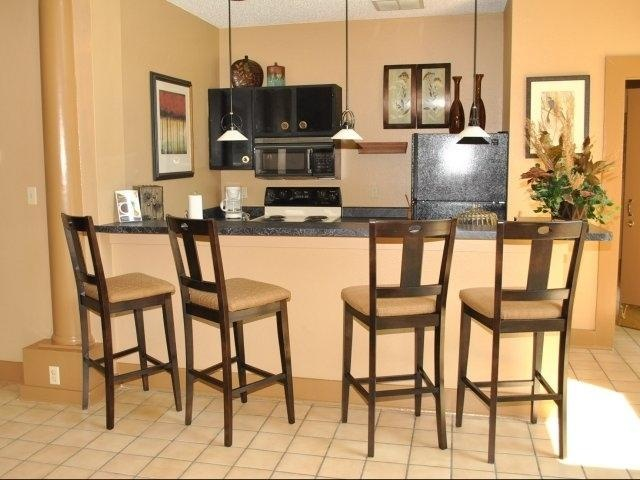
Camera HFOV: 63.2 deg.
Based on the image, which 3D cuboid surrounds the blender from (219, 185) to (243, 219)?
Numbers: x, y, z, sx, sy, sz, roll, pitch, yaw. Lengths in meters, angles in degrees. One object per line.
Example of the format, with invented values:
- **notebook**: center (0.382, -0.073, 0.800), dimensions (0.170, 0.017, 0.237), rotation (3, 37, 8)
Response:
- **blender**: center (-0.756, -0.349, 4.643), dimensions (0.312, 0.337, 0.211), rotation (-2, 10, -16)

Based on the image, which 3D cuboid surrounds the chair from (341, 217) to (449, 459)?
- **chair**: center (0.444, 0.524, 3.263), dimensions (0.695, 1.417, 0.762), rotation (-3, 13, 0)

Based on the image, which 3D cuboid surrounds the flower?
- **flower**: center (1.766, -0.462, 3.614), dimensions (0.535, 0.666, 0.462), rotation (3, 6, 14)

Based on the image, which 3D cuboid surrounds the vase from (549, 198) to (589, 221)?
- **vase**: center (1.713, -0.210, 3.582), dimensions (0.224, 0.146, 0.125), rotation (3, 14, 25)

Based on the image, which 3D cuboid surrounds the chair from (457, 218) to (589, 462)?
- **chair**: center (1.172, 0.549, 3.101), dimensions (0.726, 1.415, 0.661), rotation (1, 13, 20)
